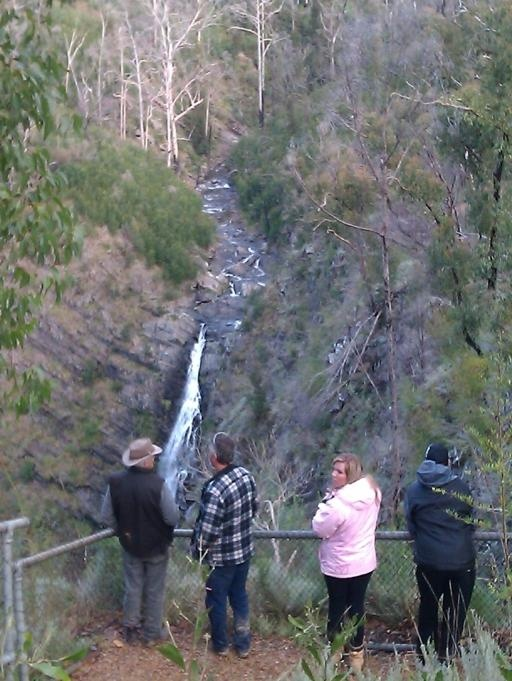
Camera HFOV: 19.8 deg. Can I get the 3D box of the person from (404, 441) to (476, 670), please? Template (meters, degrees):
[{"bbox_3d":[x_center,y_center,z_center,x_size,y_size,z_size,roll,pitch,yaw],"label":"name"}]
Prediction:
[{"bbox_3d":[2.158,2.424,17.029,0.763,2.307,0.517,-4,8,4],"label":"person"}]

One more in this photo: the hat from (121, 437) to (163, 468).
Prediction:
[{"bbox_3d":[-1.357,1.398,17.525,0.355,0.164,0.311,-28,33,-22],"label":"hat"}]

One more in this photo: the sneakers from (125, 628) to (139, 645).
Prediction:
[{"bbox_3d":[-1.478,3.496,17.426,0.107,0.212,0.081,3,1,5],"label":"sneakers"}]

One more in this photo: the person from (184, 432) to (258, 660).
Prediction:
[{"bbox_3d":[-0.362,2.417,17.307,0.789,2.621,0.400,-5,8,-4],"label":"person"}]

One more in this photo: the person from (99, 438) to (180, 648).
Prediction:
[{"bbox_3d":[-1.400,2.331,17.749,0.680,2.624,0.799,1,20,-1],"label":"person"}]

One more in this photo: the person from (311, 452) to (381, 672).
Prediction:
[{"bbox_3d":[1.066,2.334,17.020,0.778,1.972,0.326,-5,8,-4],"label":"person"}]
